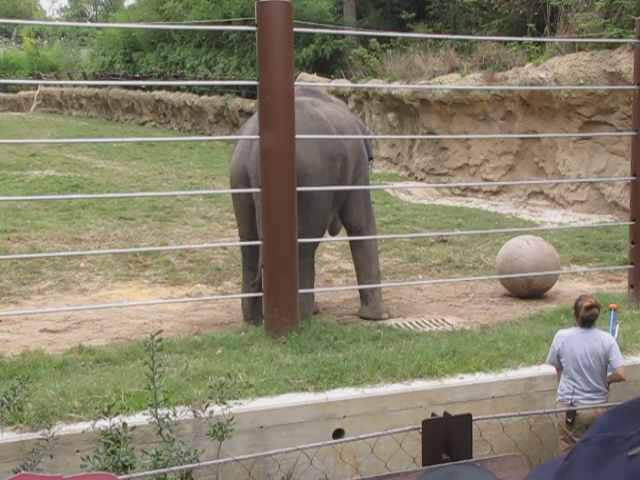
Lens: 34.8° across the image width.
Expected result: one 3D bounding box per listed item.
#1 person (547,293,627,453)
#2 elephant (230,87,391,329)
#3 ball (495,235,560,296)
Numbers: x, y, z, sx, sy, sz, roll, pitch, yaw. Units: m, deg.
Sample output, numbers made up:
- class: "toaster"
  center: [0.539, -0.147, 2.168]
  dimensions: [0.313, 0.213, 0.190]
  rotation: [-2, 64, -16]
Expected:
- class: "person"
  center: [2.493, 1.468, 9.520]
  dimensions: [0.732, 1.951, 0.609]
  rotation: [6, 14, 23]
- class: "elephant"
  center: [-0.064, -0.259, 10.987]
  dimensions: [1.658, 2.768, 3.018]
  rotation: [0, 10, 3]
- class: "ball"
  center: [2.564, 0.388, 12.657]
  dimensions: [0.747, 0.758, 0.881]
  rotation: [5, 14, 3]
